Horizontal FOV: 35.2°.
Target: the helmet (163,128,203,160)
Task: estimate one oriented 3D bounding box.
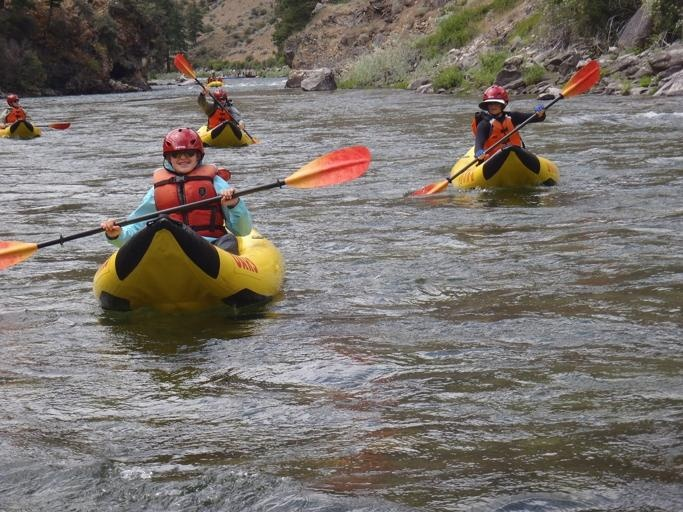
[{"bbox_3d":[-1.347,-0.979,9.339,0.324,0.257,0.294,0,-1,-3],"label":"helmet"}]

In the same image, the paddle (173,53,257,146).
[{"bbox_3d":[-2.132,-2.470,19.208,1.030,0.854,2.757,-29,6,0],"label":"paddle"}]

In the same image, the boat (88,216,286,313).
[{"bbox_3d":[-1.244,0.019,9.082,1.342,0.917,0.776,-23,22,-37],"label":"boat"}]

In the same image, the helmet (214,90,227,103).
[{"bbox_3d":[-2.160,-2.999,19.971,0.281,0.236,0.280,-1,1,-18],"label":"helmet"}]
